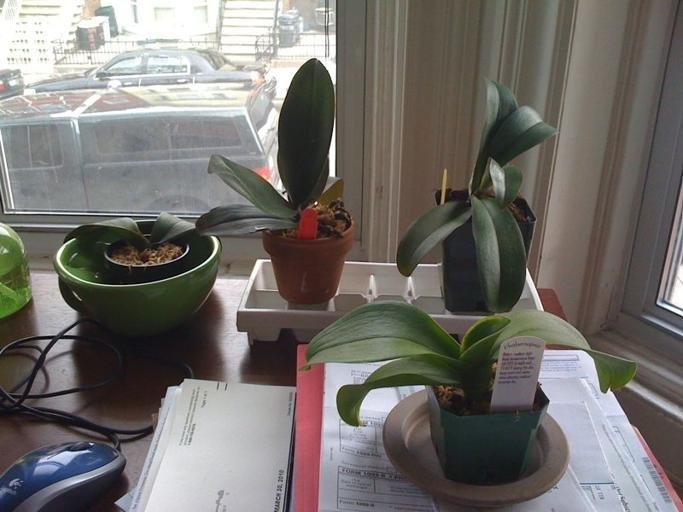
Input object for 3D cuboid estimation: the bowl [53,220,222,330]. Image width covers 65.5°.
[{"bbox_3d":[-0.353,0.055,0.920,0.211,0.096,0.210,1,28,-1],"label":"bowl"}]
